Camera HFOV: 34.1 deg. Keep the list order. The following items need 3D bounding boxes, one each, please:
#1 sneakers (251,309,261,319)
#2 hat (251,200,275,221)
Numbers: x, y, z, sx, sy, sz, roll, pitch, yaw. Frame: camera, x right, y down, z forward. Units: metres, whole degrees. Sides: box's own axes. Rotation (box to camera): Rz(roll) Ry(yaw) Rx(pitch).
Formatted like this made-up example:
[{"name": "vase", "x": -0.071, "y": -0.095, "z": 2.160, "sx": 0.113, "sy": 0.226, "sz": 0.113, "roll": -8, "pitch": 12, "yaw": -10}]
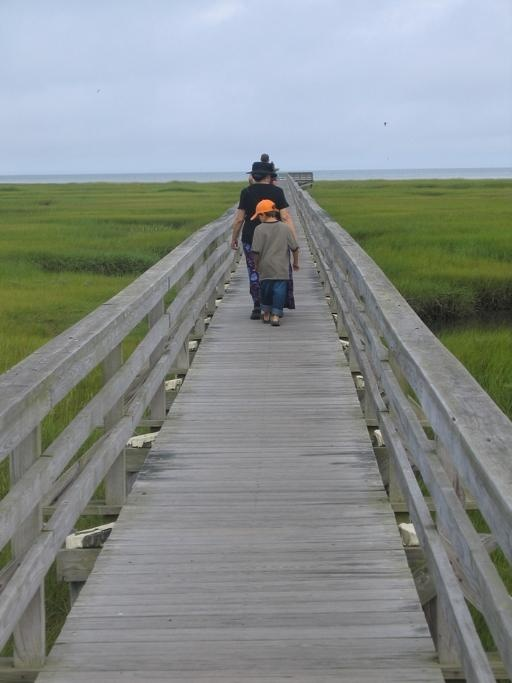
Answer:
[{"name": "sneakers", "x": 0.005, "y": -0.271, "z": 8.295, "sx": 0.086, "sy": 0.117, "sz": 0.255, "roll": -1, "pitch": -2, "yaw": 2}, {"name": "hat", "x": 0.065, "y": -1.141, "z": 7.233, "sx": 0.200, "sy": 0.121, "sz": 0.136, "roll": -20, "pitch": 12, "yaw": 35}]
